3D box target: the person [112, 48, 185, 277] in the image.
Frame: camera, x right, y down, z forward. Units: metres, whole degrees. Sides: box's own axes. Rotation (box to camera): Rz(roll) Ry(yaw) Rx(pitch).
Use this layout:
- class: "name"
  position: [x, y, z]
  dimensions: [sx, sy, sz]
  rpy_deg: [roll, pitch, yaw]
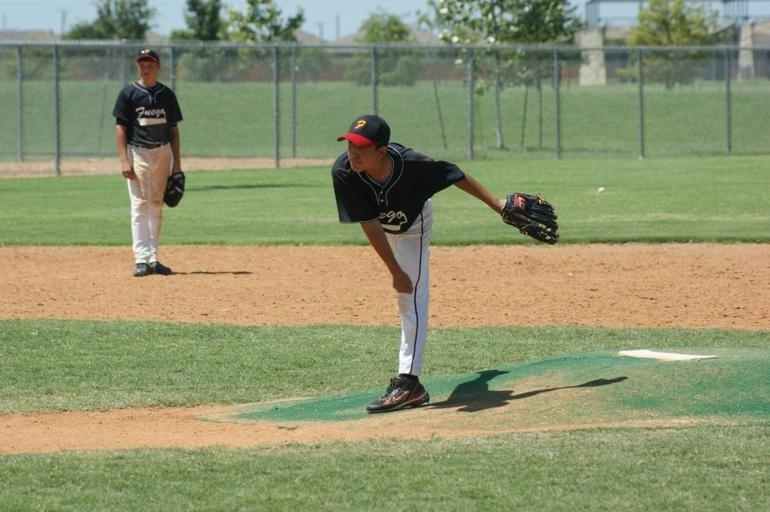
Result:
- class: "person"
  position: [-3.188, -1.236, 21.520]
  dimensions: [0.882, 3.085, 0.425]
  rpy_deg: [-4, 5, -9]

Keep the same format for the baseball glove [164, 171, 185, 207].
- class: "baseball glove"
  position: [-2.882, -0.892, 21.770]
  dimensions: [0.182, 0.432, 0.346]
  rpy_deg: [19, -9, -32]

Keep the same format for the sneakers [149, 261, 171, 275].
- class: "sneakers"
  position: [-3.075, 0.200, 21.781]
  dimensions: [0.324, 0.128, 0.127]
  rpy_deg: [26, 13, -7]

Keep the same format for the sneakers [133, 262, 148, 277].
- class: "sneakers"
  position: [-3.326, 0.214, 21.641]
  dimensions: [0.192, 0.201, 0.459]
  rpy_deg: [2, -2, -10]

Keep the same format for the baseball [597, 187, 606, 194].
- class: "baseball"
  position: [3.733, -1.113, 27.588]
  dimensions: [0.127, 0.075, 0.242]
  rpy_deg: [2, 9, 13]

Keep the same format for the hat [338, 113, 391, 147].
- class: "hat"
  position: [-0.223, -1.460, 18.226]
  dimensions: [0.473, 0.369, 0.702]
  rpy_deg: [21, 14, 38]
